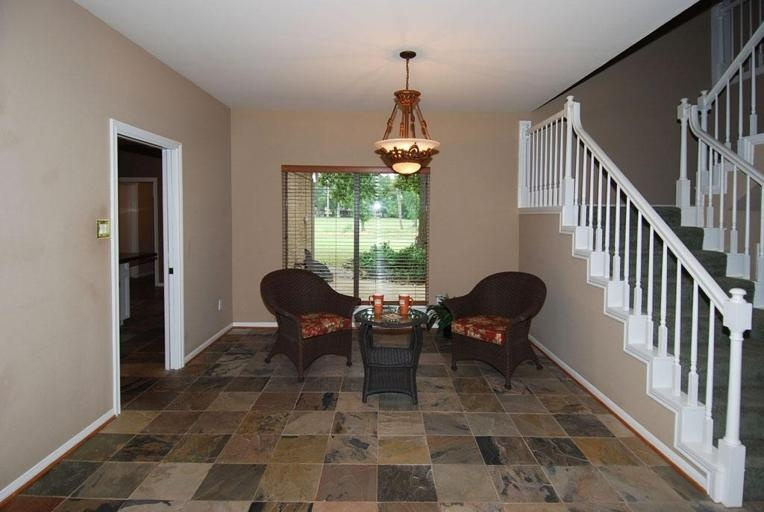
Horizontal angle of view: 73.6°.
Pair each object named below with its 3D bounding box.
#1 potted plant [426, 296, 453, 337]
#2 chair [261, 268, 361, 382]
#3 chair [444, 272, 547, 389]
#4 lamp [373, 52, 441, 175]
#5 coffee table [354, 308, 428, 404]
[{"bbox_3d":[0.800,0.887,7.315,0.487,0.526,0.542,0,-4,-14],"label":"potted plant"},{"bbox_3d":[-0.953,0.785,6.372,1.052,1.046,1.012,-7,13,-39],"label":"chair"},{"bbox_3d":[1.429,0.817,6.139,0.972,1.108,1.156,-10,12,-35],"label":"chair"},{"bbox_3d":[0.245,-1.558,5.428,0.917,1.223,0.885,2,5,5],"label":"lamp"},{"bbox_3d":[0.089,1.093,5.816,0.976,0.928,0.904,0,0,0],"label":"coffee table"}]
